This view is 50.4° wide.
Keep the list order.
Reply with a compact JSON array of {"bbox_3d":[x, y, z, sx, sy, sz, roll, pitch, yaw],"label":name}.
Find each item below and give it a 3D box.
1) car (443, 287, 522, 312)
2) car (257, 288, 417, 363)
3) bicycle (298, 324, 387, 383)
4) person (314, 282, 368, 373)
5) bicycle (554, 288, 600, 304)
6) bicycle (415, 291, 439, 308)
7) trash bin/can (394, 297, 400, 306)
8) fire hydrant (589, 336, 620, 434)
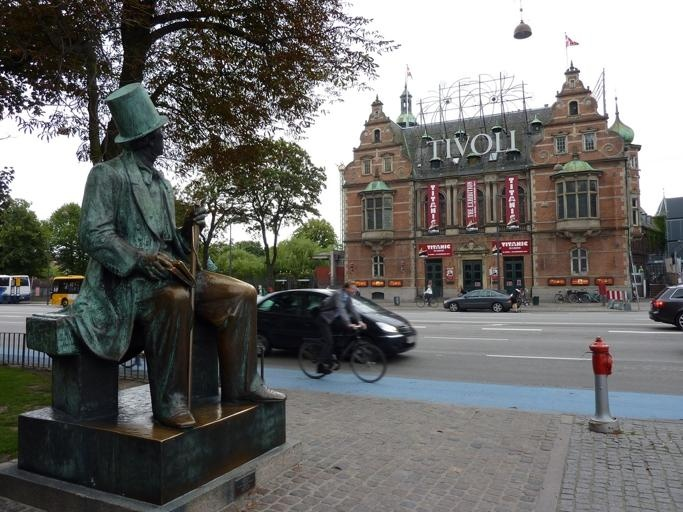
[{"bbox_3d":[6.174,2.034,32.691,2.760,0.827,1.186,0,-3,23],"label":"car"},{"bbox_3d":[-0.123,1.512,16.315,2.949,1.278,1.703,-4,-5,17],"label":"car"},{"bbox_3d":[0.100,1.929,14.089,1.734,1.016,0.862,-3,-5,24],"label":"bicycle"},{"bbox_3d":[0.006,1.371,13.994,0.941,1.728,1.044,-1,-1,19],"label":"person"},{"bbox_3d":[12.670,2.125,38.911,1.792,0.858,0.761,-3,-2,22],"label":"bicycle"},{"bbox_3d":[4.679,2.421,40.343,1.330,0.823,0.701,-5,7,5],"label":"bicycle"},{"bbox_3d":[3.033,2.535,40.701,0.438,0.492,0.440,-4,-4,27],"label":"trash bin/can"},{"bbox_3d":[3.650,1.780,10.126,0.414,1.287,0.494,-1,-1,20],"label":"fire hydrant"}]
